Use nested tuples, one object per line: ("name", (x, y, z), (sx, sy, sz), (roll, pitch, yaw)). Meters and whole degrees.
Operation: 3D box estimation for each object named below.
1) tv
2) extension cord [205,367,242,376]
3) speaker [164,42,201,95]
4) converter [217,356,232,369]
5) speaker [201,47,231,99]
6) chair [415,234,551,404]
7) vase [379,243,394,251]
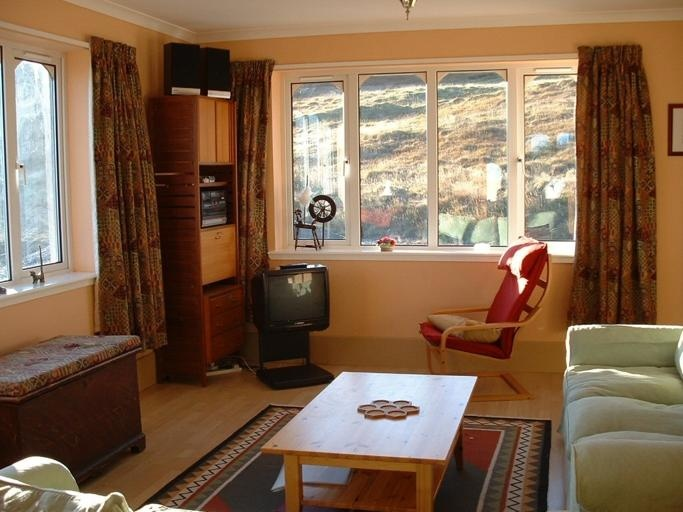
("tv", (-0.458, 0.309, 5.045), (0.782, 0.687, 0.561), (-1, 1, -20))
("extension cord", (-1.112, 1.062, 5.027), (0.142, 0.036, 0.129), (-3, 2, -43))
("speaker", (-1.403, -1.592, 4.685), (0.345, 0.441, 0.224), (-2, 8, -1))
("converter", (-1.113, 1.010, 5.193), (0.099, 0.038, 0.130), (1, 8, 1))
("speaker", (-1.118, -1.624, 4.853), (0.226, 0.442, 0.167), (-4, 9, -14))
("chair", (1.164, 0.493, 4.528), (1.027, 1.239, 0.790), (-3, 8, -8))
("vase", (0.432, -0.091, 5.205), (0.134, 0.071, 0.151), (-2, 8, -1))
